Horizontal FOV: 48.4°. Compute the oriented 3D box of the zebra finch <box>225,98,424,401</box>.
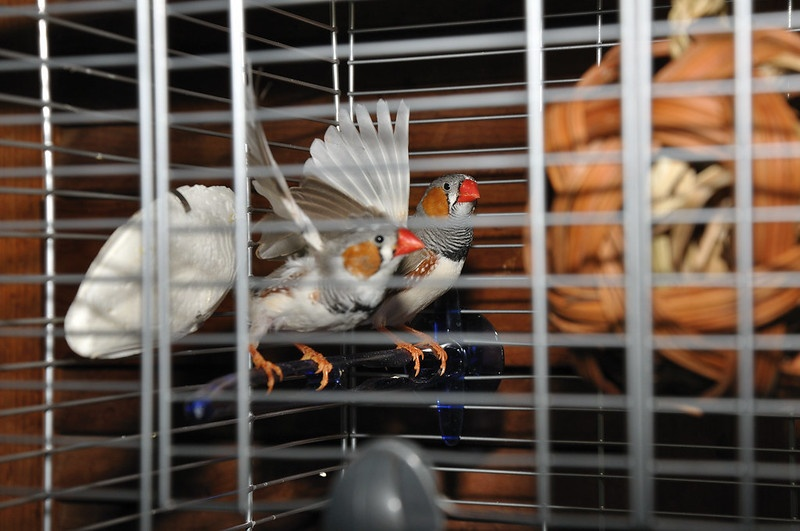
[{"bbox_3d":[-0.071,-0.046,1.435,0.397,0.421,0.460,8,2,16],"label":"zebra finch"}]
